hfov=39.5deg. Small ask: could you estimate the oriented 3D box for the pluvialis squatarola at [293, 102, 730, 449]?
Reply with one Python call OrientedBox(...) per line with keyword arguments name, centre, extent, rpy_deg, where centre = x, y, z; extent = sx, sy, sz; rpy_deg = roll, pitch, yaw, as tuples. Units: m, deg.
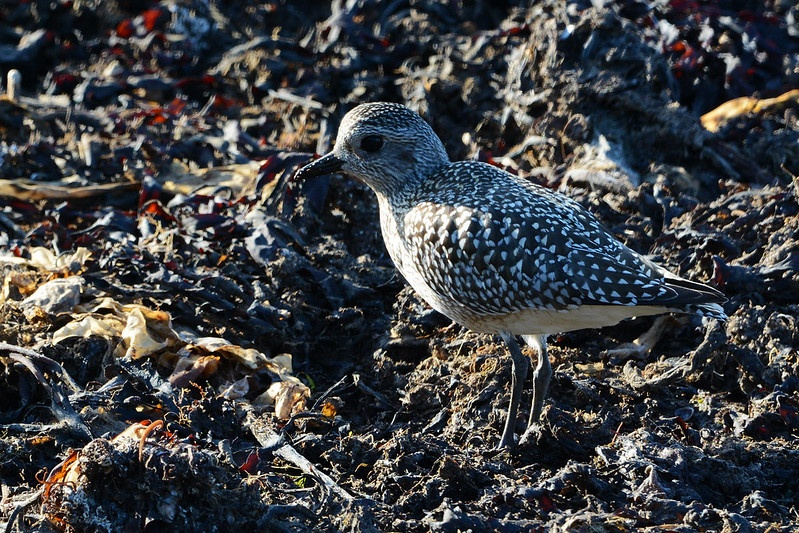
OrientedBox(name="pluvialis squatarola", centre=(0.648, -0.044, 6.866), extent=(1.983, 2.105, 0.594), rpy_deg=(-11, 3, 33))
